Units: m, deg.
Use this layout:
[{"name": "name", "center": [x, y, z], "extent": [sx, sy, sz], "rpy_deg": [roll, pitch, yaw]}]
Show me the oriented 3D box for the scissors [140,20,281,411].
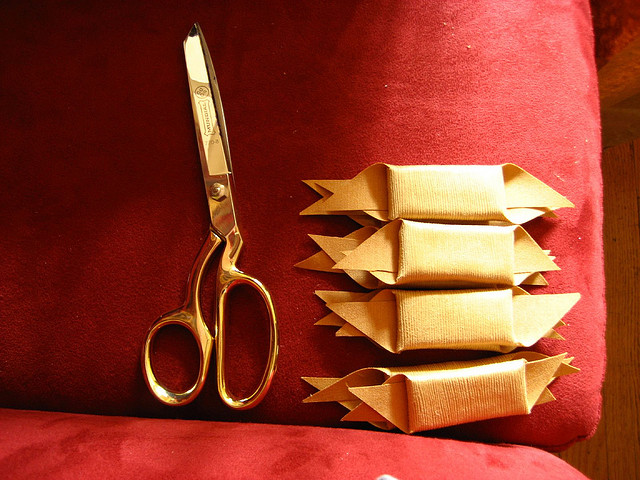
[{"name": "scissors", "center": [-0.162, -0.037, 0.865], "extent": [0.204, 0.030, 0.528], "rpy_deg": [6, 74, -44]}]
